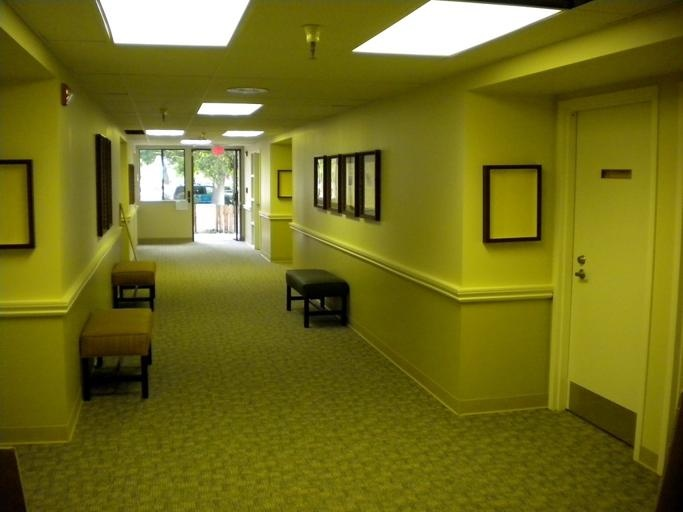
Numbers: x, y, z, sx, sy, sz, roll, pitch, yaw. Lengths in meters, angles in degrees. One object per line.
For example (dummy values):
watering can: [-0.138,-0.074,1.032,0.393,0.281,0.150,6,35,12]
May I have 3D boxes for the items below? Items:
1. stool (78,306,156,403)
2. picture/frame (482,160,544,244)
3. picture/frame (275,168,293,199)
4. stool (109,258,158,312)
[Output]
stool: [-2.115,0.736,4.780,0.661,0.614,1.207,-1,15,-11]
picture/frame: [1.411,-0.476,4.343,0.695,0.854,0.067,-1,2,-11]
picture/frame: [-1.317,-1.633,11.839,0.332,0.674,0.242,-2,9,-13]
stool: [-3.117,0.374,7.644,0.686,0.739,1.125,-1,10,-11]
